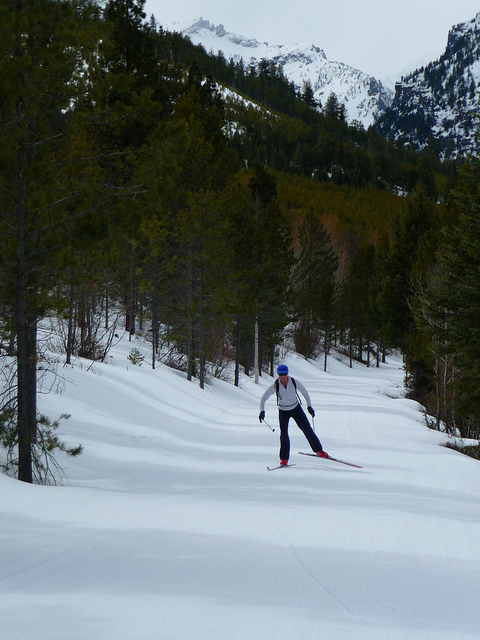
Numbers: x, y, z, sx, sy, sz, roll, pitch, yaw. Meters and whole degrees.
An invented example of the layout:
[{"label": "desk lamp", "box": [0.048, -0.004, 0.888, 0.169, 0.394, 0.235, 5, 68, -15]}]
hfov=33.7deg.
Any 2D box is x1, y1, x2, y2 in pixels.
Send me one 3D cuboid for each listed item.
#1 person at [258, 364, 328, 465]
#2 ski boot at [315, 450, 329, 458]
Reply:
[{"label": "person", "box": [0.790, 1.532, 12.454, 0.720, 0.721, 1.822, -10, 44, 2]}, {"label": "ski boot", "box": [1.341, 2.215, 13.095, 0.220, 0.166, 0.087, -1, -3, 32]}]
